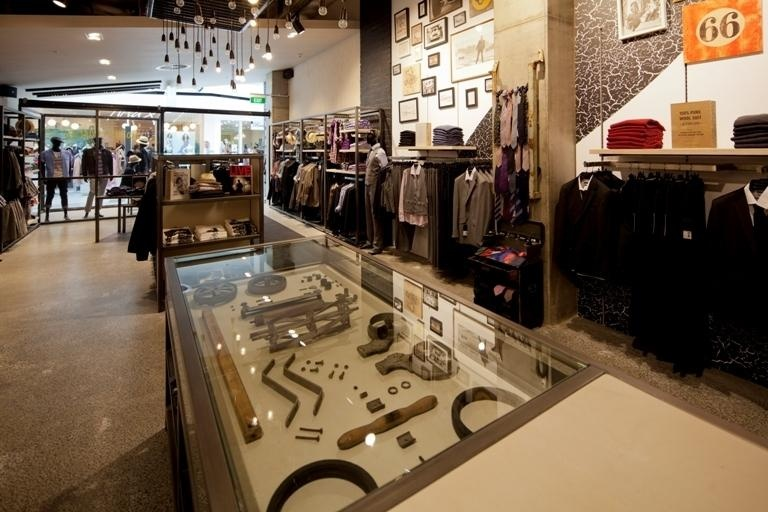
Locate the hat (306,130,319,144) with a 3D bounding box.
[{"bbox_3d":[-1.396,-2.341,9.466,0.223,0.240,0.055,30,11,20],"label":"hat"}]

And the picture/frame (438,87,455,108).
[{"bbox_3d":[0.840,-2.161,6.550,0.020,0.299,0.289,-1,6,-36],"label":"picture/frame"}]

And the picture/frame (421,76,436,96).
[{"bbox_3d":[0.626,-2.412,6.816,0.028,0.269,0.293,-1,7,-32],"label":"picture/frame"}]

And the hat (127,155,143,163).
[{"bbox_3d":[-4.807,-1.907,9.431,0.209,0.074,0.199,-30,44,-34],"label":"hat"}]

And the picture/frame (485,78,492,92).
[{"bbox_3d":[1.260,-2.119,5.970,0.024,0.168,0.107,-10,17,-36],"label":"picture/frame"}]

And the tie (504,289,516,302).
[{"bbox_3d":[1.249,0.400,4.903,0.080,0.125,0.124,-17,-30,15],"label":"tie"}]

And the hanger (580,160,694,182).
[{"bbox_3d":[2.323,-0.812,4.469,0.251,0.139,0.560,-13,17,-39],"label":"hanger"}]

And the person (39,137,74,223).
[{"bbox_3d":[-6.669,-1.582,9.948,0.620,1.703,1.346,-9,17,-34],"label":"person"}]

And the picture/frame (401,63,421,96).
[{"bbox_3d":[0.407,-2.618,7.117,0.047,0.522,0.495,-1,6,-29],"label":"picture/frame"}]

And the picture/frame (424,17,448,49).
[{"bbox_3d":[0.711,-3.067,6.611,0.063,0.408,0.498,-2,6,-29],"label":"picture/frame"}]

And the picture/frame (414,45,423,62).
[{"bbox_3d":[0.492,-2.946,6.984,0.023,0.255,0.241,-1,6,-29],"label":"picture/frame"}]

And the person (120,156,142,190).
[{"bbox_3d":[-4.878,-1.667,9.428,0.417,0.592,1.254,-7,17,-27],"label":"person"}]

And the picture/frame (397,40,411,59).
[{"bbox_3d":[0.305,-3.121,7.248,0.032,0.271,0.333,0,3,-31],"label":"picture/frame"}]

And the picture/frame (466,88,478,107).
[{"bbox_3d":[1.117,-2.045,6.182,0.028,0.313,0.242,-1,3,-35],"label":"picture/frame"}]

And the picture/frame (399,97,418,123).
[{"bbox_3d":[0.369,-2.211,7.248,0.025,0.337,0.394,-7,13,-29],"label":"picture/frame"}]

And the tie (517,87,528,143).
[{"bbox_3d":[1.379,-1.419,4.857,0.111,0.566,0.108,3,13,16],"label":"tie"}]

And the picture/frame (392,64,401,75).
[{"bbox_3d":[0.196,-2.895,7.462,0.021,0.165,0.211,3,1,-28],"label":"picture/frame"}]

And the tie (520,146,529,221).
[{"bbox_3d":[1.436,-0.766,4.948,0.109,0.713,0.062,4,13,17],"label":"tie"}]

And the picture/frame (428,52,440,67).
[{"bbox_3d":[0.685,-2.732,6.692,0.022,0.183,0.227,2,3,-28],"label":"picture/frame"}]

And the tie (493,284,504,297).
[{"bbox_3d":[1.159,0.339,4.935,0.022,0.097,0.095,9,15,-37],"label":"tie"}]
